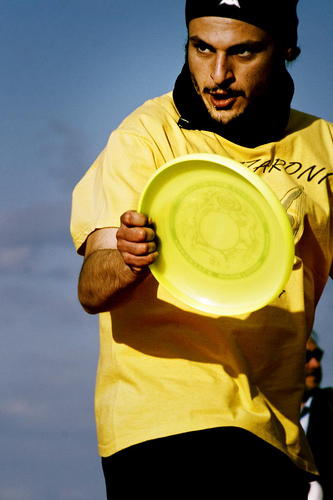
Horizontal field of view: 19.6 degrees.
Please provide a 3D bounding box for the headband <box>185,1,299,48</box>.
[{"bbox_3d":[0.283,-0.781,3.346,0.419,0.202,0.241,-6,27,-9],"label":"headband"}]

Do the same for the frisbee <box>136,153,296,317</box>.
[{"bbox_3d":[0.145,-0.055,2.874,0.575,0.483,0.126,-4,31,32],"label":"frisbee"}]
